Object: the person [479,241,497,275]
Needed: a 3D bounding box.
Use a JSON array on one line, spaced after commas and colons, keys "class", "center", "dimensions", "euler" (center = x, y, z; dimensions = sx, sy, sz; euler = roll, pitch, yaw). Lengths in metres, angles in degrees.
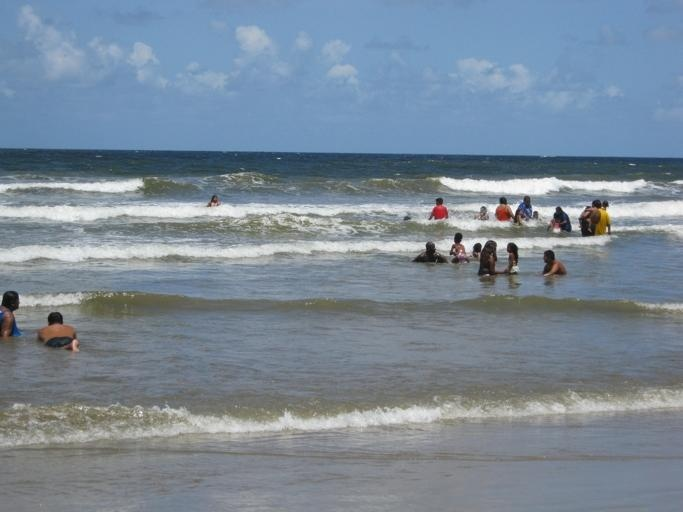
[{"class": "person", "center": [3.075, 0.059, 25.661], "dimensions": [0.391, 0.714, 0.412], "euler": [5, 17, 28]}]
